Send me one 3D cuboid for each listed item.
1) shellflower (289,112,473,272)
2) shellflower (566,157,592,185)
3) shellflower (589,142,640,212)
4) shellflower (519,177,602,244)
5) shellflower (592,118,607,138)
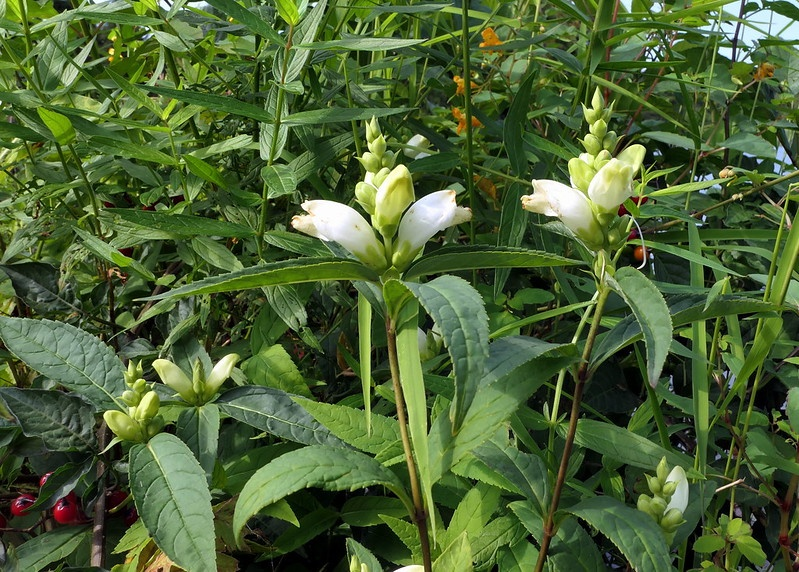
[{"bbox_3d":[-0.032,-0.133,1.024,0.251,0.215,0.233,-5,8,-9],"label":"shellflower"},{"bbox_3d":[0.257,-0.162,0.946,0.027,0.046,0.011,-23,17,8],"label":"shellflower"},{"bbox_3d":[0.321,-0.161,0.980,0.059,0.083,0.179,15,7,17],"label":"shellflower"},{"bbox_3d":[0.222,-0.125,0.981,0.049,0.062,0.160,-26,47,-37],"label":"shellflower"},{"bbox_3d":[0.289,-0.226,0.956,0.020,0.015,0.027,22,14,39],"label":"shellflower"}]
